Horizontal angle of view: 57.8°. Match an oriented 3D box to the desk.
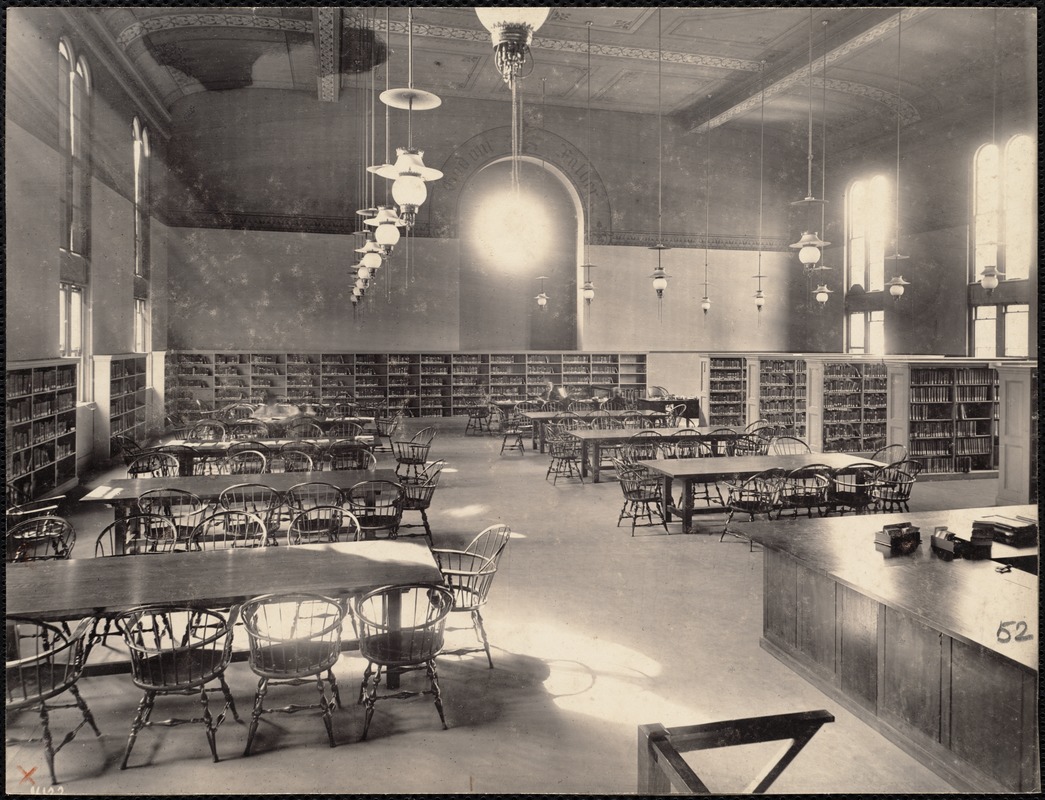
[{"bbox_3d":[2.766,1.733,6.576,1.786,0.794,1.781,-4,5,-30],"label":"desk"}]
